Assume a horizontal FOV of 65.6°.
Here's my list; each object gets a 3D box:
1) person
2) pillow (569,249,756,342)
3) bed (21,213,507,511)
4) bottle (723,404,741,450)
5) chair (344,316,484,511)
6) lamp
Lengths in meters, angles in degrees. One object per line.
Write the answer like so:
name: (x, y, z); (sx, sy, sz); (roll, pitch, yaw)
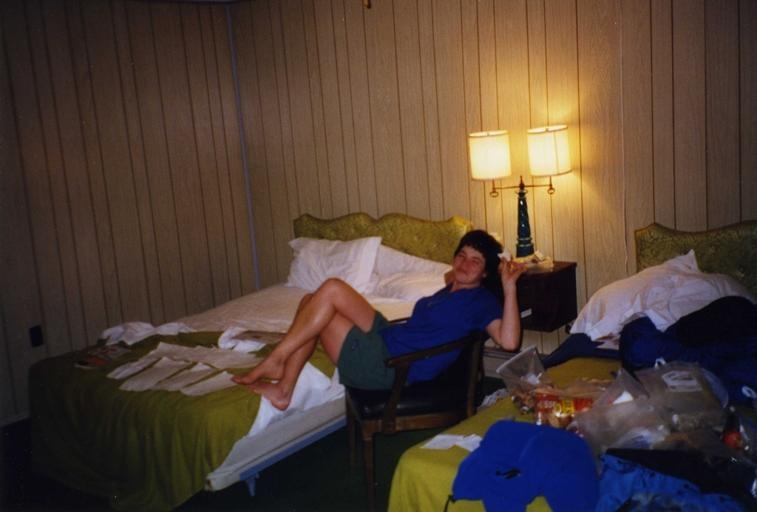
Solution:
person: (0.074, 0.284, 3.555); (1.355, 0.785, 0.946); (-4, 10, 1)
pillow: (1.528, 0.286, 3.270); (0.843, 0.321, 0.520); (3, 17, 39)
bed: (-0.820, 0.557, 3.684); (1.319, 0.626, 2.236); (10, 20, 36)
bottle: (1.437, 0.707, 2.381); (0.067, 0.097, 0.115); (2, 16, 36)
chair: (0.165, 0.834, 3.782); (0.828, 1.202, 0.898); (0, 5, -13)
lamp: (1.022, -0.457, 4.118); (0.799, 1.090, 0.343); (-5, 12, 29)
